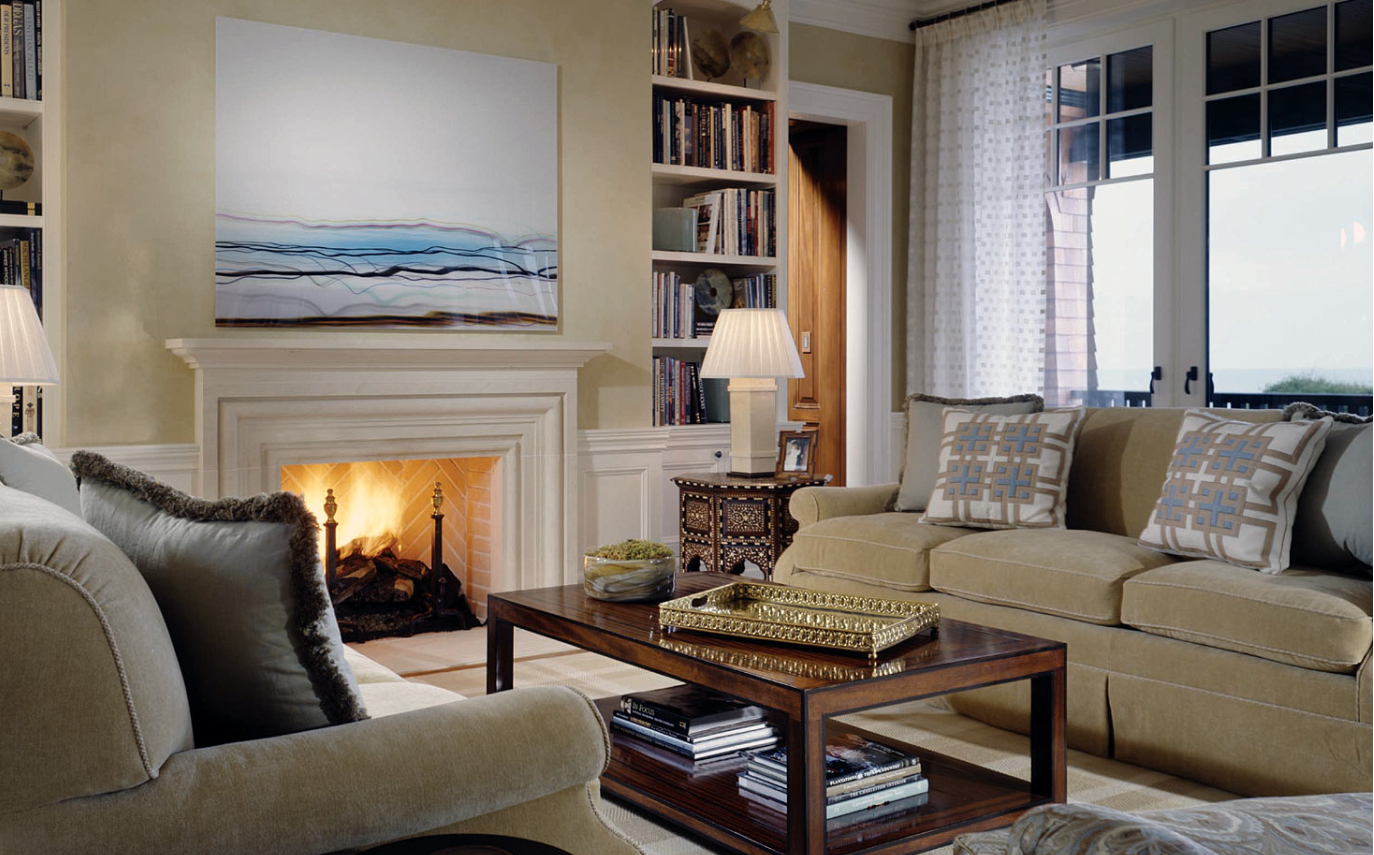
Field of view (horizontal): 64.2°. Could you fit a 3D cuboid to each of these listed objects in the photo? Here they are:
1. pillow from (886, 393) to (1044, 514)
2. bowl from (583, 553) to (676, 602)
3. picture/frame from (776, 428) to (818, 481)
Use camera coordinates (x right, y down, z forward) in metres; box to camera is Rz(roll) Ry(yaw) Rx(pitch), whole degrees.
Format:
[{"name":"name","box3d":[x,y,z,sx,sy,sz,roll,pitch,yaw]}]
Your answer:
[{"name":"pillow","box3d":[1.307,0.125,5.248,0.270,0.575,0.619,21,-16,-40]},{"name":"bowl","box3d":[-0.230,0.504,3.870,0.205,0.084,0.207,1,-1,0]},{"name":"picture/frame","box3d":[0.568,0.137,5.757,0.299,0.296,0.042,0,-15,38]}]
